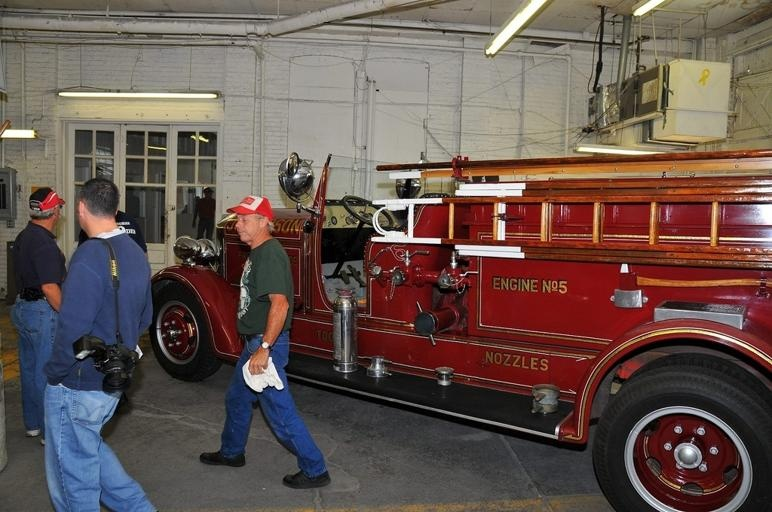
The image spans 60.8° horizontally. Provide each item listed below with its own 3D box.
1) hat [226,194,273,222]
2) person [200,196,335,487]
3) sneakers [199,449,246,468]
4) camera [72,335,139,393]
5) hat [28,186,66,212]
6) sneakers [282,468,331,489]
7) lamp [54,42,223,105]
[{"bbox_3d":[-1.202,-0.420,5.747,0.362,0.170,0.227,3,1,-15],"label":"hat"},{"bbox_3d":[-1.029,0.747,5.674,1.060,2.493,0.540,7,10,36],"label":"person"},{"bbox_3d":[-1.478,1.840,6.006,0.420,0.153,0.151,8,1,6],"label":"sneakers"},{"bbox_3d":[-2.079,0.743,4.936,0.572,0.200,0.296,34,24,27],"label":"camera"},{"bbox_3d":[-3.198,-0.534,6.233,0.235,0.174,0.348,9,21,22],"label":"hat"},{"bbox_3d":[-0.703,1.939,5.740,0.404,0.158,0.156,3,3,3],"label":"sneakers"},{"bbox_3d":[-4.611,-3.189,11.894,3.045,0.621,0.886,2,8,9],"label":"lamp"}]
